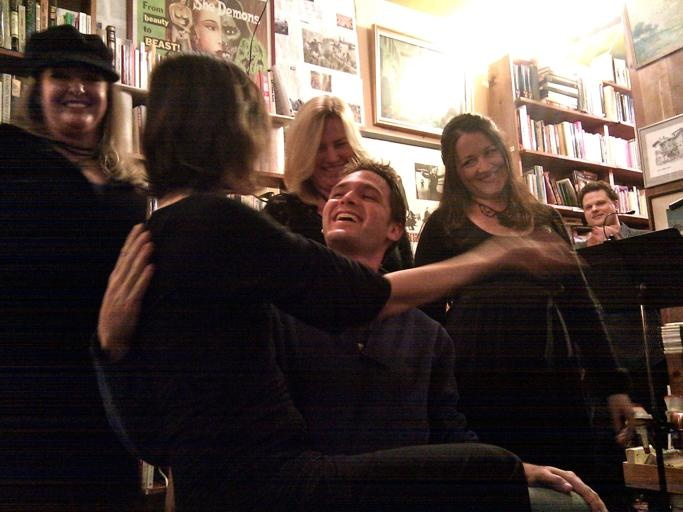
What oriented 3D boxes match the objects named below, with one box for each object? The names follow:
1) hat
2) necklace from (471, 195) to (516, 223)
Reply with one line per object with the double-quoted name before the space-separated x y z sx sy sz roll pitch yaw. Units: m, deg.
"hat" -0.862 -0.651 2.009 0.283 0.105 0.216 -3 -3 42
"necklace" 0.504 -0.154 2.090 0.073 0.088 0.030 -34 -28 -16
